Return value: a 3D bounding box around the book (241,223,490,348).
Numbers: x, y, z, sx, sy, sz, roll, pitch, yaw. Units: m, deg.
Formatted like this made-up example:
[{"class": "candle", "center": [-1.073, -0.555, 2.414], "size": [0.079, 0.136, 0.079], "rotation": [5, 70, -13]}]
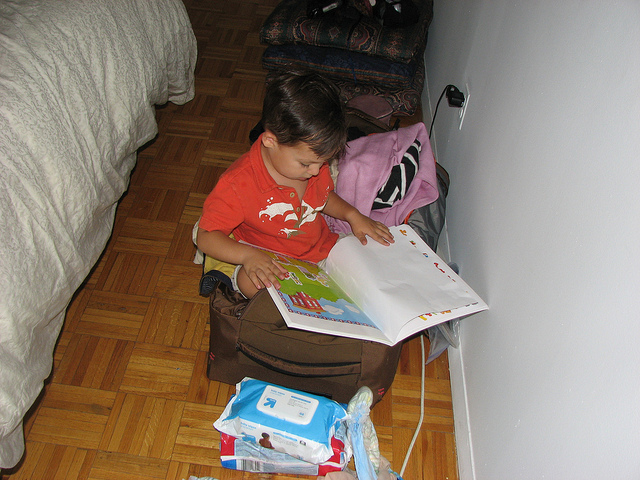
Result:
[{"class": "book", "center": [0.129, 0.123, 1.316], "size": [0.546, 0.130, 0.361], "rotation": [-8, 52, -23]}]
